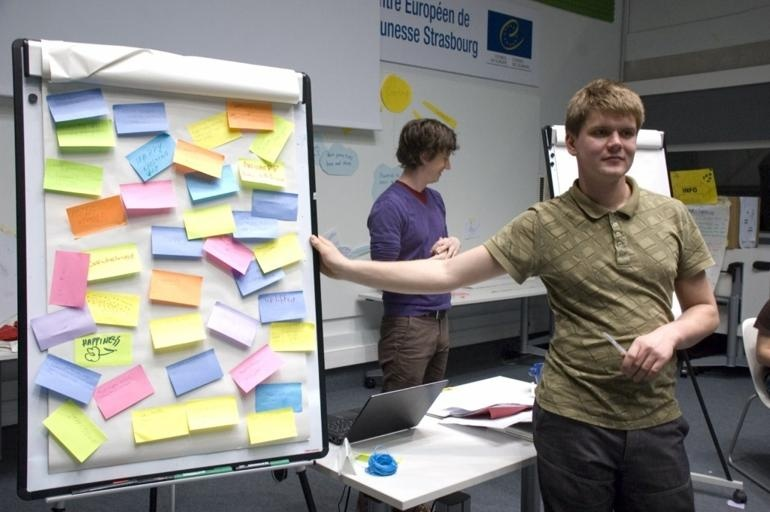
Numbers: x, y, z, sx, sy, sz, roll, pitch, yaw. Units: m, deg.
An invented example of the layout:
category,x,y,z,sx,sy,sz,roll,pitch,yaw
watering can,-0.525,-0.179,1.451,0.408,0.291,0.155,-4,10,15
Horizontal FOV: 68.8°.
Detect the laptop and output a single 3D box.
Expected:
category,x,y,z,sx,sy,sz,roll,pitch,yaw
laptop,-0.001,0.572,2.015,0.299,0.192,0.307,-7,15,-28
